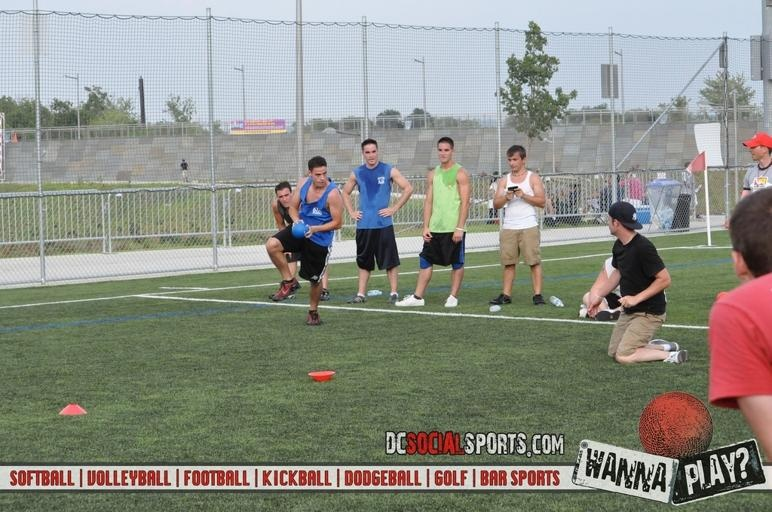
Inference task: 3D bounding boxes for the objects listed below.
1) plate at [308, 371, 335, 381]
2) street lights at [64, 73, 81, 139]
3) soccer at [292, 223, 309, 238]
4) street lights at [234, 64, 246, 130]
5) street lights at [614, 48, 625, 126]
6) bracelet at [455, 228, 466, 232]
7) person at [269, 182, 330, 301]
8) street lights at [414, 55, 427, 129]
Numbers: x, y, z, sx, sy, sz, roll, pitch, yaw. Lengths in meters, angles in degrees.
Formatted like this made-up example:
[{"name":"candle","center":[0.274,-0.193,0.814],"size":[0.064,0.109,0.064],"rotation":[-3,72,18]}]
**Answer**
[{"name":"plate","center":[-0.611,1.135,7.265],"size":[0.231,0.082,0.163],"rotation":[-1,6,-6]},{"name":"street lights","center":[-6.649,-3.253,16.308],"size":[0.276,1.034,0.948],"rotation":[-2,6,-20]},{"name":"soccer","center":[-1.109,-0.321,9.844],"size":[0.213,0.193,0.258],"rotation":[-1,6,-7]},{"name":"street lights","center":[-3.299,-3.565,17.434],"size":[0.142,1.387,0.283],"rotation":[2,6,28]},{"name":"street lights","center":[6.962,-5.072,22.668],"size":[0.273,1.929,0.781],"rotation":[2,6,27]},{"name":"bracelet","center":[1.060,-0.364,11.037],"size":[0.115,0.051,0.090],"rotation":[-1,6,-8]},{"name":"person","center":[-1.589,-0.283,12.487],"size":[1.137,1.958,0.582],"rotation":[-1,1,-39]},{"name":"street lights","center":[0.955,-4.156,19.655],"size":[0.294,1.746,0.470],"rotation":[2,6,25]}]
